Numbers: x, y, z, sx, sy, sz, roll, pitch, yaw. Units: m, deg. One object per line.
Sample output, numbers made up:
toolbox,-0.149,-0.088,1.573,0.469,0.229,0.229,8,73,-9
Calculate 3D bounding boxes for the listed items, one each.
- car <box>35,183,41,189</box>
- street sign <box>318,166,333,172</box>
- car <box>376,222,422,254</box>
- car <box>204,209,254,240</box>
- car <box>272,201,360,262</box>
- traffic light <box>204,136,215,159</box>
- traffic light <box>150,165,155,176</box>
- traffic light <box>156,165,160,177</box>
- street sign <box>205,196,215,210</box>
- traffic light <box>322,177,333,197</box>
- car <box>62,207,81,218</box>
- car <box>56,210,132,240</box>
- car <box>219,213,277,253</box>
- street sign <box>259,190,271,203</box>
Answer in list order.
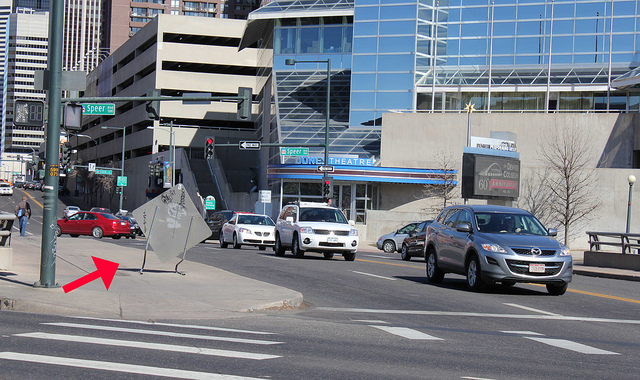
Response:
car,-47.737,-0.664,141.424,0.931,0.726,2.079,1,4,-6
street sign,0.453,-1.416,55.017,1.027,0.348,0.859,2,0,25
car,4.755,3.072,52.295,2.516,1.269,1.414,1,-4,25
car,-6.877,2.408,56.893,1.837,1.514,4.116,1,0,-22
car,-0.300,2.064,41.827,4.326,2.938,1.879,2,0,27
traffic light,-7.236,-2.799,55.197,0.524,1.453,1.154,2,0,-10
traffic light,-16.474,-1.981,82.258,0.298,1.008,1.494,2,0,-18
traffic light,-16.118,-1.975,83.172,0.250,1.128,1.102,5,2,3
street sign,-9.171,1.122,69.972,1.100,1.566,0.157,3,-7,-30
traffic light,0.542,-0.171,56.121,0.387,1.299,1.039,2,0,18
car,-21.949,1.966,73.885,1.051,0.786,2.321,1,5,-11
car,-14.856,2.389,55.099,4.656,1.444,2.155,4,-4,3
car,-4.081,2.422,47.951,3.260,2.176,2.002,2,0,4
street sign,-4.033,0.527,61.739,0.899,0.977,0.327,-3,3,-36
